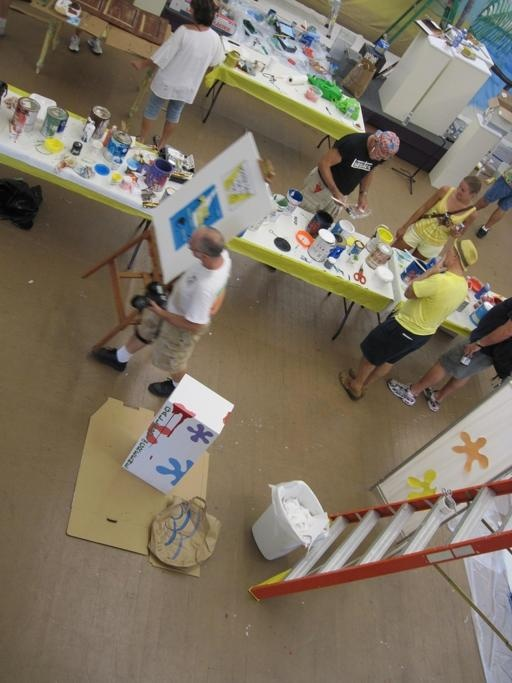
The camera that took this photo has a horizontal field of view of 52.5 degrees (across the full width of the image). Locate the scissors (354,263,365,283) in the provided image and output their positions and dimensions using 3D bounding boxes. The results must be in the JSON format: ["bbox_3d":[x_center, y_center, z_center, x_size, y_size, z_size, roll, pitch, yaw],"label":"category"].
[{"bbox_3d":[0.954,-0.633,4.860,0.155,0.028,0.200,31,43,-18],"label":"scissors"}]

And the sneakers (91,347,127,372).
[{"bbox_3d":[-1.129,0.141,4.040,0.288,0.137,0.131,29,17,-26],"label":"sneakers"}]

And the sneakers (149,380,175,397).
[{"bbox_3d":[-0.734,0.370,4.008,0.190,0.125,0.087,-6,62,-25],"label":"sneakers"}]

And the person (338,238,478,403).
[{"bbox_3d":[1.311,-0.129,4.697,0.435,1.804,0.501,-7,58,-38],"label":"person"}]

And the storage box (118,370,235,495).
[{"bbox_3d":[-0.526,0.623,3.381,0.361,0.851,0.344,35,42,-3],"label":"storage box"}]

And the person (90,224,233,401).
[{"bbox_3d":[-0.571,-0.219,3.461,0.598,1.528,0.531,38,45,2],"label":"person"}]

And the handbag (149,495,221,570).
[{"bbox_3d":[-0.468,1.267,3.412,0.407,0.162,0.524,32,34,10],"label":"handbag"}]

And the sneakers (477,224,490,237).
[{"bbox_3d":[3.647,-1.758,8.385,0.100,0.124,0.299,41,48,-3],"label":"sneakers"}]
